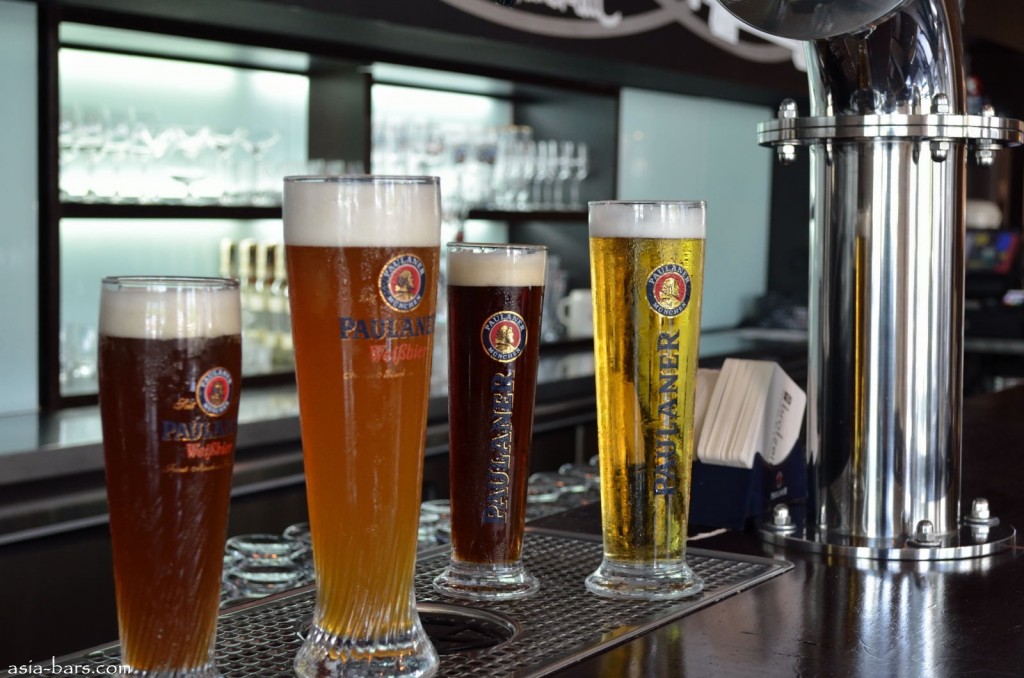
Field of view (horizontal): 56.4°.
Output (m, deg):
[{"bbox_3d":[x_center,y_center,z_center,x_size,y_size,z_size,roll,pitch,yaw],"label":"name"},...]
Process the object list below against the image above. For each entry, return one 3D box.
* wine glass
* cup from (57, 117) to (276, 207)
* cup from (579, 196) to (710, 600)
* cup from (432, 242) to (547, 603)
[{"bbox_3d":[-0.106,-0.622,3.453,0.290,0.323,0.969,6,10,37],"label":"wine glass"},{"bbox_3d":[-0.915,-0.477,2.575,0.617,0.229,0.420,-5,10,-31],"label":"cup"},{"bbox_3d":[0.172,0.063,0.996,0.180,0.426,0.172,0,3,0],"label":"cup"},{"bbox_3d":[-0.018,0.080,0.964,0.121,0.353,0.100,-5,10,-29],"label":"cup"}]
